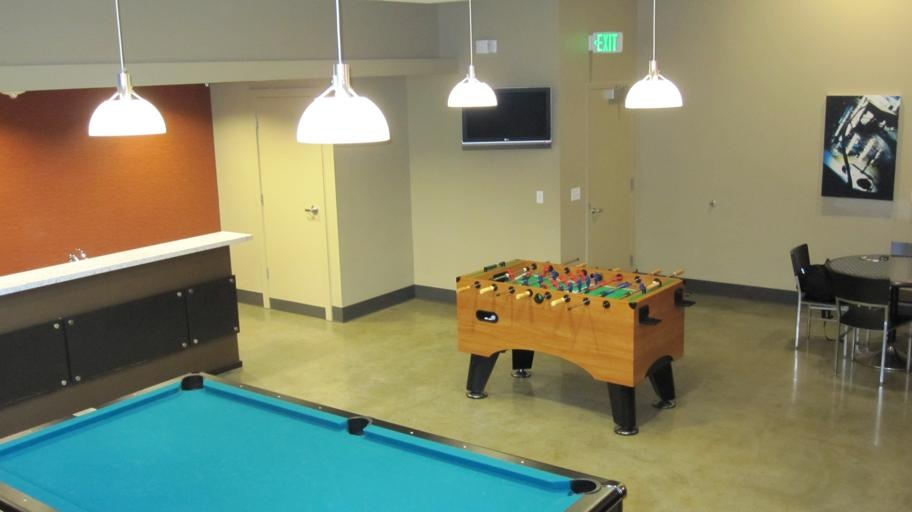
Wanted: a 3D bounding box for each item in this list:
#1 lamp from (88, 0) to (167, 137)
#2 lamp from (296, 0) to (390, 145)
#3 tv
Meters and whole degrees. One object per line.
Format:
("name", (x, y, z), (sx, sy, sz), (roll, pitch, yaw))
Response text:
("lamp", (-3.211, -1.852, 6.329), (0.617, 1.387, 1.651), (-7, 14, -24))
("lamp", (-0.813, -1.311, 4.673), (0.639, 0.993, 0.311), (-3, 14, -9))
("tv", (0.794, -2.020, 9.423), (1.136, 0.668, 0.090), (1, 7, 19))
